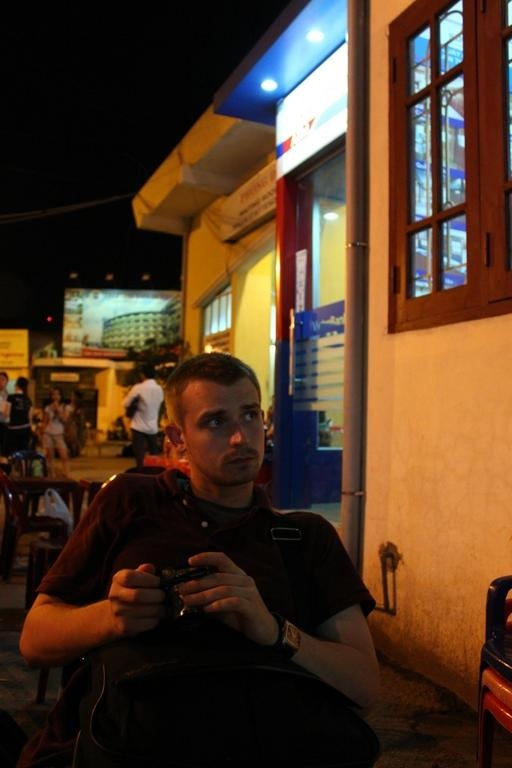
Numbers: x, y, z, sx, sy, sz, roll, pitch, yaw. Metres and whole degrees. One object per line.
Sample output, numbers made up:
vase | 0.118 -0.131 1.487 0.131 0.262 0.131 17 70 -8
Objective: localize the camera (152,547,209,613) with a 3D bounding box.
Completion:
camera | -0.120 0.300 1.010 0.090 0.071 0.082 -4 2 -13

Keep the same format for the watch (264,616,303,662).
watch | 0.053 0.441 1.128 0.052 0.086 0.077 25 -32 -15
